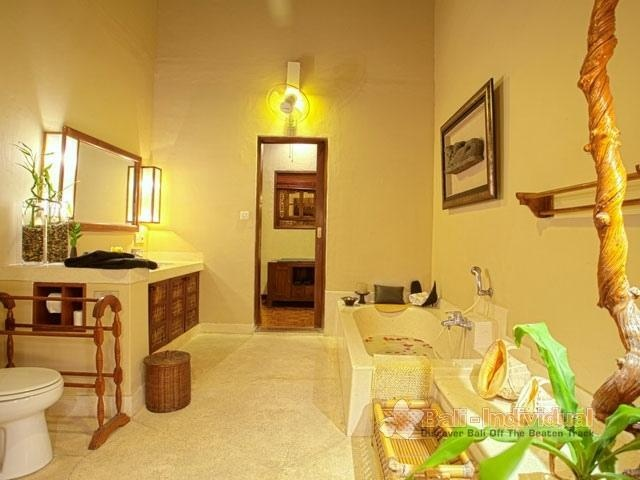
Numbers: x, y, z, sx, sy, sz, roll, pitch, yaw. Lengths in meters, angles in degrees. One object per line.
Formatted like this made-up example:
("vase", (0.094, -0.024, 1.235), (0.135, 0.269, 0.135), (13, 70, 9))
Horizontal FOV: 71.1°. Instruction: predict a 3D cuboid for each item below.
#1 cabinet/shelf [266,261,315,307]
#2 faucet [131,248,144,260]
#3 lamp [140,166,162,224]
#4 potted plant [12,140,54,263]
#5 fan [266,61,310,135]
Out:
("cabinet/shelf", (-0.366, 0.620, 6.487), (0.765, 0.696, 0.445), (2, 1, -7))
("faucet", (-1.686, 0.123, 4.113), (0.082, 0.086, 0.061), (2, 10, -1))
("lamp", (-1.820, -0.473, 4.786), (0.195, 0.585, 0.197), (4, 4, 19))
("potted plant", (-2.095, -0.293, 3.404), (0.224, 0.867, 0.383), (1, 9, 1))
("fan", (-0.284, -1.515, 4.868), (0.435, 0.791, 0.367), (9, 26, 20))
